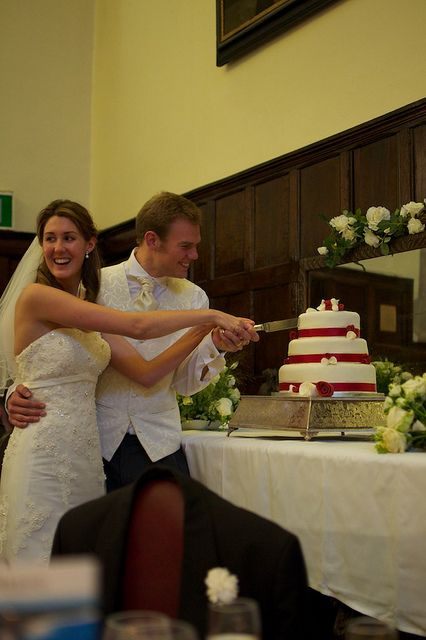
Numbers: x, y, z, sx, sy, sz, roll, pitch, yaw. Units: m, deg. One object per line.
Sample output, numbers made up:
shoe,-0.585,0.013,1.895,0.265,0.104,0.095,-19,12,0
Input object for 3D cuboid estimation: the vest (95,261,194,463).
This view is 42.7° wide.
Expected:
vest,-0.300,0.162,2.437,0.434,0.845,0.480,-2,4,-2

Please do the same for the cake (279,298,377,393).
cake,0.512,0.144,2.488,0.464,0.424,0.459,-1,-4,38

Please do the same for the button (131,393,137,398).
button,-0.338,0.322,2.316,0.021,0.018,0.005,2,-11,-7

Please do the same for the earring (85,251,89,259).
earring,-0.532,-0.274,2.306,0.016,0.029,0.054,-3,4,-13

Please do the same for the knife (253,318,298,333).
knife,0.227,0.038,2.485,0.073,0.061,0.384,3,-6,-35

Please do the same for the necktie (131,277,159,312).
necktie,-0.300,-0.106,2.435,0.092,0.059,0.176,12,39,-3

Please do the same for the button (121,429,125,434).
button,-0.376,0.467,2.280,0.018,0.016,0.004,1,-5,-1

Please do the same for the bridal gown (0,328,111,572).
bridal gown,-0.619,0.467,2.128,0.346,0.867,0.506,1,5,26

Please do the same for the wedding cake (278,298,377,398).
wedding cake,0.523,0.136,2.491,0.445,0.400,0.446,-1,-1,25

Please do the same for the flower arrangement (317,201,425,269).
flower arrangement,0.909,-0.493,3.261,0.187,0.336,0.708,-4,5,-31

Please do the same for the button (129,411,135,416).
button,-0.342,0.396,2.297,0.019,0.016,0.005,-1,-13,-10

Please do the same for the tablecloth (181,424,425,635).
tablecloth,0.314,0.611,1.707,0.780,0.170,0.772,5,-8,-28
